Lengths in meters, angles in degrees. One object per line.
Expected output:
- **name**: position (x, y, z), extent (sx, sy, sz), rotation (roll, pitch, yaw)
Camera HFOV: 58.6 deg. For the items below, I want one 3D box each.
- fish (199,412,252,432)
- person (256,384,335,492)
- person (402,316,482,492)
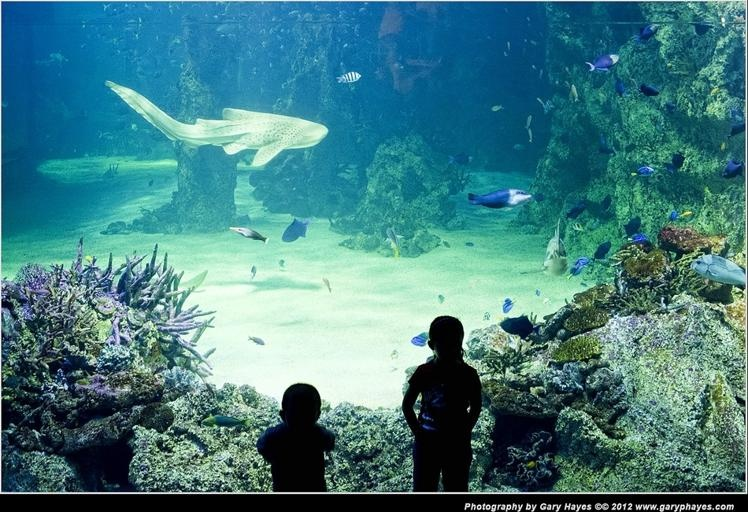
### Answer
- **fish**: position (-3.253, 3.588, 14.421), extent (0.981, 0.277, 0.611), rotation (5, -16, -16)
- **person**: position (-1.475, 3.458, 12.699), extent (1.365, 1.991, 0.871), rotation (2, -17, -5)
- **person**: position (1.305, 2.869, 12.894), extent (1.475, 3.262, 1.152), rotation (-3, -17, 10)
